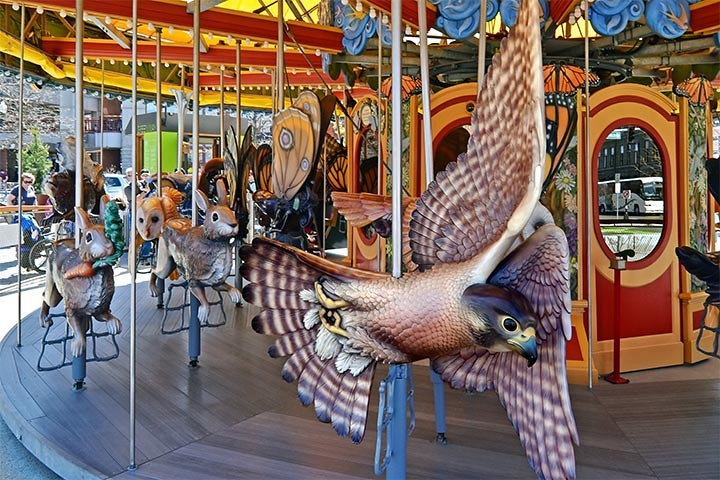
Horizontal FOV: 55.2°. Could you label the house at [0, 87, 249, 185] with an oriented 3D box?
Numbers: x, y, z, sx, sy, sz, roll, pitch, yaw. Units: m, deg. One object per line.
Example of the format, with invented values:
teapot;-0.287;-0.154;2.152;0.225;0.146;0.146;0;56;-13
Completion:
house;-6.929;-2.840;17.740;4.427;2.167;7.686;-4;9;-32
